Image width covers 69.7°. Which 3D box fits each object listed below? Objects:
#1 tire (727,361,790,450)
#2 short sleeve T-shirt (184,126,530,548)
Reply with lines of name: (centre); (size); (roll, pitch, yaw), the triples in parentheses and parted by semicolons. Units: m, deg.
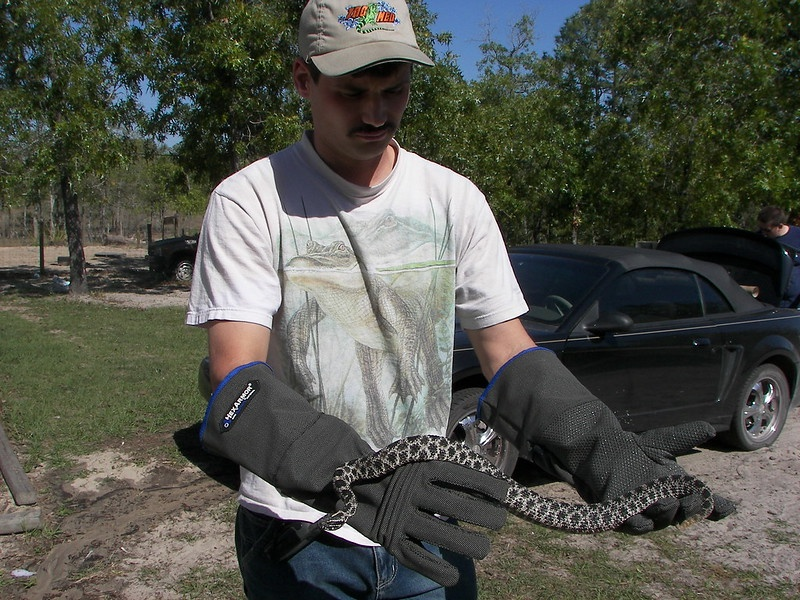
tire: (3.882, 1.149, 6.261); (0.809, 0.835, 0.269); (20, -11, -37)
short sleeve T-shirt: (-0.145, 0.121, 2.046); (1.232, 1.455, 0.651); (0, 2, -18)
